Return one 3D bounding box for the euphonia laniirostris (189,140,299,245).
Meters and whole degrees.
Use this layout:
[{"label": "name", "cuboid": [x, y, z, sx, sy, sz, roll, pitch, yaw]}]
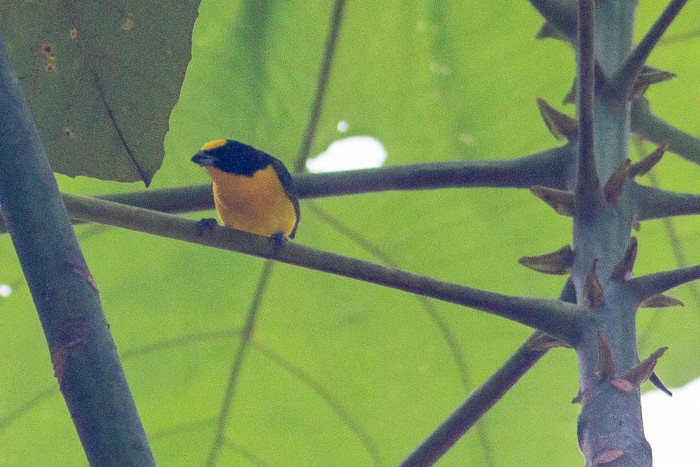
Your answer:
[{"label": "euphonia laniirostris", "cuboid": [-0.538, -0.212, 6.716, 0.570, 0.806, 0.513, -3, -93, 22]}]
